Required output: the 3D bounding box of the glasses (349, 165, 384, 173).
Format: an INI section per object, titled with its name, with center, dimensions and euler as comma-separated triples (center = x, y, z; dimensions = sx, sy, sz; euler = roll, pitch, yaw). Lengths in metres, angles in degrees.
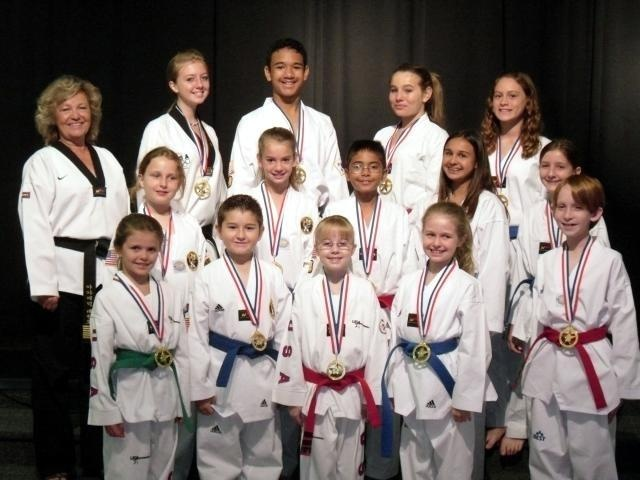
[glasses]
center = 0.344, -0.536, 5.029
dimensions = 0.239, 0.061, 0.066
euler = -2, 2, 0
